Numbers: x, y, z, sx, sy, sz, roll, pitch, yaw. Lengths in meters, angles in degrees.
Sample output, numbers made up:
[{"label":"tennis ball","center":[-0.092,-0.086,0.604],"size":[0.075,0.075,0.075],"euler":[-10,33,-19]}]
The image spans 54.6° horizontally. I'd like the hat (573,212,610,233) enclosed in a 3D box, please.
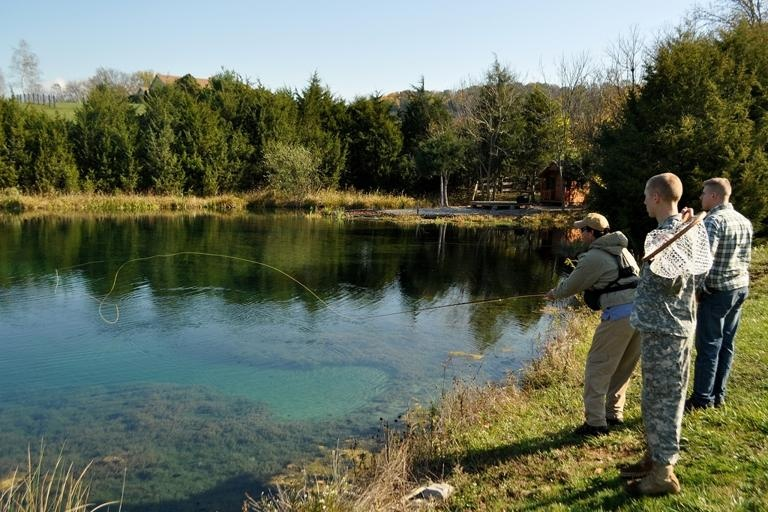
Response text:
[{"label":"hat","center":[3.846,-0.617,13.649],"size":[0.547,0.299,0.405],"euler":[6,9,31]}]
